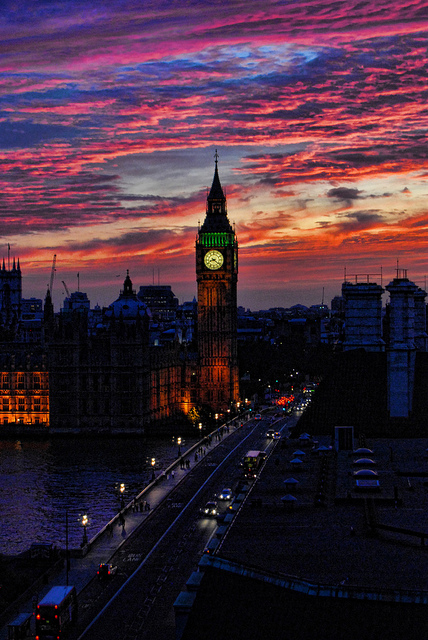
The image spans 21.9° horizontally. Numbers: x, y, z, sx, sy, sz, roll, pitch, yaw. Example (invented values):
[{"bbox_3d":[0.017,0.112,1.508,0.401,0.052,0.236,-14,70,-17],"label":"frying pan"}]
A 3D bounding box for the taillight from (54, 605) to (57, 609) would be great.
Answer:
[{"bbox_3d":[-9.029,16.264,62.717,0.197,0.294,0.094,1,-12,-5],"label":"taillight"}]

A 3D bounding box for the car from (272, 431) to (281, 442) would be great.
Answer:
[{"bbox_3d":[8.611,16.392,154.578,1.316,1.043,2.193,1,9,3],"label":"car"}]

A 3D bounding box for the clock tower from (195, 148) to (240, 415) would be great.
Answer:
[{"bbox_3d":[0.297,-1.700,215.441,6.537,41.835,9.470,-3,-1,11],"label":"clock tower"}]

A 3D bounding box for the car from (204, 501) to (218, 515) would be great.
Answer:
[{"bbox_3d":[-0.325,17.116,100.476,0.960,0.782,2.088,0,4,3],"label":"car"}]

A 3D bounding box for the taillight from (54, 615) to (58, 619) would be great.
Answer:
[{"bbox_3d":[-9.011,16.807,62.633,0.175,0.180,0.061,-2,-1,-17],"label":"taillight"}]

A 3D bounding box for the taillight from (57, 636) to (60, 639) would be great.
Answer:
[{"bbox_3d":[-8.856,17.939,62.536,0.035,0.124,0.187,-3,-1,15],"label":"taillight"}]

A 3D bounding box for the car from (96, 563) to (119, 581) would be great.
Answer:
[{"bbox_3d":[-7.624,17.623,77.555,1.131,0.918,1.703,-3,-1,8],"label":"car"}]
